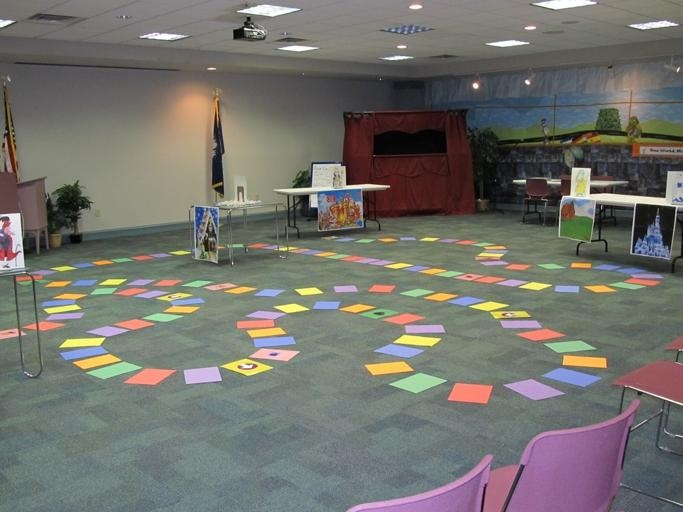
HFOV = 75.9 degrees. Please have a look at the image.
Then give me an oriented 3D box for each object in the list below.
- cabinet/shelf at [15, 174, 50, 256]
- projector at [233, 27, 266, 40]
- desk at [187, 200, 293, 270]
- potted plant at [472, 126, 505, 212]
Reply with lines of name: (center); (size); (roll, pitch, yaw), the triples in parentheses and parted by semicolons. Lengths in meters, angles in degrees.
cabinet/shelf: (-6.312, -0.880, 9.011); (0.576, 1.510, 1.041); (-10, 18, -25)
projector: (-1.457, -3.540, 6.882); (0.421, 0.183, 0.426); (-6, 15, -17)
desk: (-1.861, -0.524, 7.747); (1.382, 0.753, 1.143); (-2, 0, 20)
potted plant: (4.406, -2.765, 13.577); (1.068, 2.419, 0.756); (-17, 22, -41)
